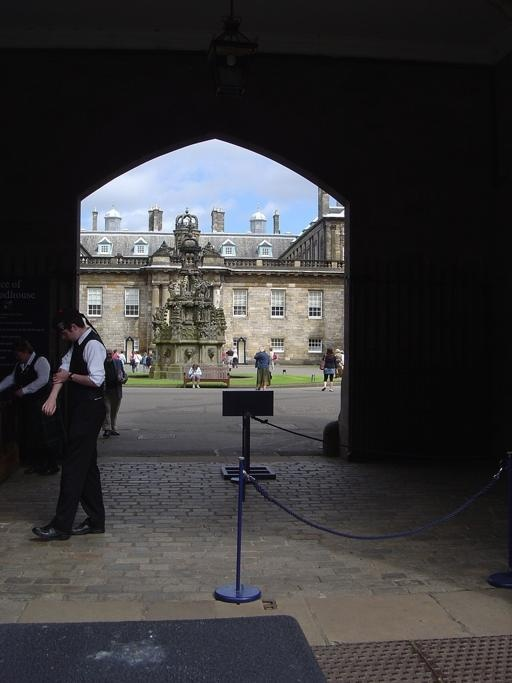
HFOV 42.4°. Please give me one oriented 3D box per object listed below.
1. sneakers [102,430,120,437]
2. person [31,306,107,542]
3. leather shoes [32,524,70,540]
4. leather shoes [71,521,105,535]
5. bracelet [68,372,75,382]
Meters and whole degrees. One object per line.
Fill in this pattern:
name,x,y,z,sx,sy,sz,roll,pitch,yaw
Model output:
sneakers,-2.444,1.530,11.018,0.308,0.137,0.114,-1,0,-25
person,-1.381,0.644,4.976,0.409,1.722,0.610,1,3,14
leather shoes,-1.507,1.393,4.864,0.284,0.126,0.114,20,-18,-30
leather shoes,-1.314,1.439,5.114,0.225,0.105,0.094,9,-14,-18
bracelet,-1.391,0.262,4.941,0.039,0.063,0.055,1,-7,6
